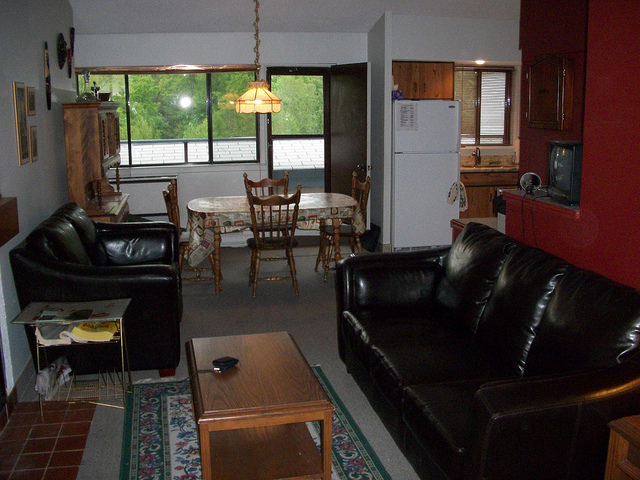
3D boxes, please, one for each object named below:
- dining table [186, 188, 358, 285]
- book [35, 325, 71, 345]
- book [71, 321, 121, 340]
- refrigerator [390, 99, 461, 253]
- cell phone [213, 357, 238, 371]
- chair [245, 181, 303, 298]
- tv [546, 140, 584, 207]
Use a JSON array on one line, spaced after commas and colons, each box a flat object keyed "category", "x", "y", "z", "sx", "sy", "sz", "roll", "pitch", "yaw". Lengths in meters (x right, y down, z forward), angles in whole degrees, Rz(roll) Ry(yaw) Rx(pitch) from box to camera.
[{"category": "dining table", "x": -0.480, "y": 0.048, "z": 5.334, "sx": 1.808, "sy": 0.951, "sz": 0.851, "roll": -7, "pitch": 4, "yaw": -15}, {"category": "book", "x": -1.551, "y": 0.557, "z": 2.753, "sx": 0.121, "sy": 0.063, "sz": 0.163, "roll": 1, "pitch": 7, "yaw": -16}, {"category": "book", "x": -1.312, "y": 0.530, "z": 2.800, "sx": 0.154, "sy": 0.060, "sz": 0.158, "roll": 3, "pitch": 7, "yaw": -12}, {"category": "refrigerator", "x": 1.391, "y": -0.860, "z": 6.353, "sx": 0.899, "sy": 2.168, "sz": 0.856, "roll": 15, "pitch": 18, "yaw": 30}, {"category": "cell phone", "x": -0.483, "y": 0.626, "z": 2.424, "sx": 0.089, "sy": 0.031, "sz": 0.055, "roll": -8, "pitch": 10, "yaw": -35}, {"category": "chair", "x": -0.492, "y": -0.085, "z": 5.243, "sx": 0.695, "sy": 1.137, "sz": 1.399, "roll": -6, "pitch": 13, "yaw": -6}, {"category": "tv", "x": 1.632, "y": -0.442, "z": 3.096, "sx": 0.195, "sy": 0.384, "sz": 0.276, "roll": -4, "pitch": 16, "yaw": -2}]
